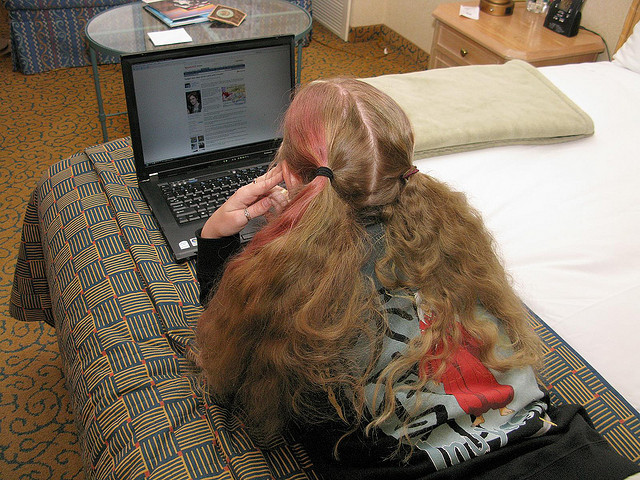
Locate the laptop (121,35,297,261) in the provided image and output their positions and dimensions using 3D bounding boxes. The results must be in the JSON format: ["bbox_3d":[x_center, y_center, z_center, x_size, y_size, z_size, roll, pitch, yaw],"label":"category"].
[{"bbox_3d":[-0.212,-0.305,1.485,0.602,0.410,0.460,-23,47,-32],"label":"laptop"}]

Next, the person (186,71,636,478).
[{"bbox_3d":[0.058,0.124,1.273,0.669,0.451,1.132,-27,73,-10],"label":"person"}]

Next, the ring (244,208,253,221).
[{"bbox_3d":[-0.182,-0.065,1.271,0.007,0.022,0.024,-30,82,3],"label":"ring"}]

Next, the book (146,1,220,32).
[{"bbox_3d":[-0.669,-1.179,2.602,0.314,0.047,0.388,-24,47,-25],"label":"book"}]
